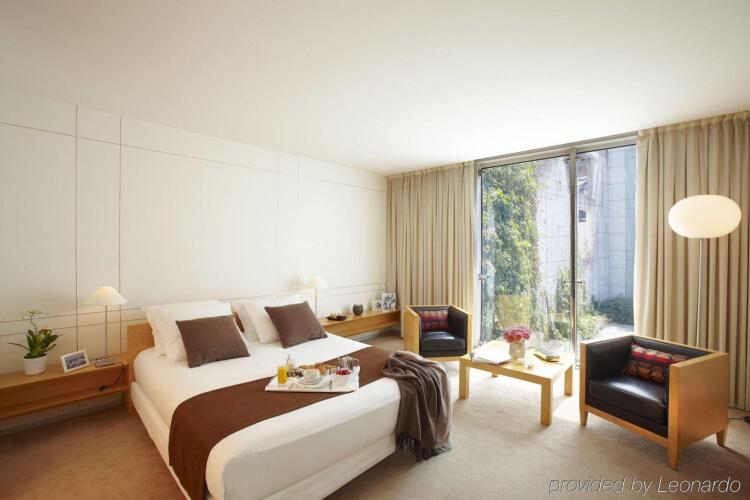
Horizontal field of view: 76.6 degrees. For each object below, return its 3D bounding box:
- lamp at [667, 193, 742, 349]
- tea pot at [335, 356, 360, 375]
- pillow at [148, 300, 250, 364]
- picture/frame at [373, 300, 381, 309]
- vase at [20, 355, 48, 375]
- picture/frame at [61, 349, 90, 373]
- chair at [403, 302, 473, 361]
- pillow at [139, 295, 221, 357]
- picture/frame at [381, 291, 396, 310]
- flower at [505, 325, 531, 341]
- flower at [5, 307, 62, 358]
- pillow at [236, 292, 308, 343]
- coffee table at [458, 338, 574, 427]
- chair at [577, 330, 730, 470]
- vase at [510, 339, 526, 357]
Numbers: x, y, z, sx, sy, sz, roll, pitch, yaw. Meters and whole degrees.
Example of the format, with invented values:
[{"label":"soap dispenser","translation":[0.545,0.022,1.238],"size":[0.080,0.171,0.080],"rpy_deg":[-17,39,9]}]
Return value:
[{"label":"lamp","translation":[3.901,0.253,5.550],"size":[0.862,1.798,0.693],"rpy_deg":[-4,3,9]},{"label":"tea pot","translation":[-0.280,1.211,4.985],"size":[0.219,0.212,0.124],"rpy_deg":[1,0,2]},{"label":"pillow","translation":[-1.899,0.949,5.524],"size":[0.866,0.264,0.927],"rpy_deg":[-13,35,-44]},{"label":"picture/frame","translation":[0.038,0.929,8.063],"size":[0.150,0.143,0.036],"rpy_deg":[-4,1,-6]},{"label":"vase","translation":[-3.643,1.220,5.067],"size":[0.210,0.157,0.188],"rpy_deg":[1,2,-31]},{"label":"picture/frame","translation":[-3.314,1.232,5.242],"size":[0.019,0.182,0.246],"rpy_deg":[-22,-16,30]},{"label":"chair","translation":[0.872,1.235,6.874],"size":[1.026,0.752,1.083],"rpy_deg":[1,2,17]},{"label":"pillow","translation":[-2.259,0.873,5.447],"size":[0.207,0.653,0.693],"rpy_deg":[-38,-21,29]},{"label":"picture/frame","translation":[0.236,0.884,8.150],"size":[0.268,0.282,0.031],"rpy_deg":[5,-15,-26]},{"label":"flower","translation":[1.731,1.020,5.769],"size":[0.290,0.170,0.245],"rpy_deg":[-5,1,-32]},{"label":"flower","translation":[-3.709,0.947,5.200],"size":[0.410,0.592,0.435],"rpy_deg":[7,5,44]},{"label":"pillow","translation":[-1.449,0.871,6.025],"size":[0.194,0.584,0.678],"rpy_deg":[-33,-29,34]},{"label":"coffee table","translation":[1.841,1.596,6.082],"size":[1.331,0.585,1.399],"rpy_deg":[5,9,25]},{"label":"chair","translation":[3.033,1.539,5.221],"size":[1.116,0.987,1.110],"rpy_deg":[0,3,-32]},{"label":"vase","translation":[1.673,1.178,5.737],"size":[0.211,0.223,0.206],"rpy_deg":[3,-5,-28]}]
